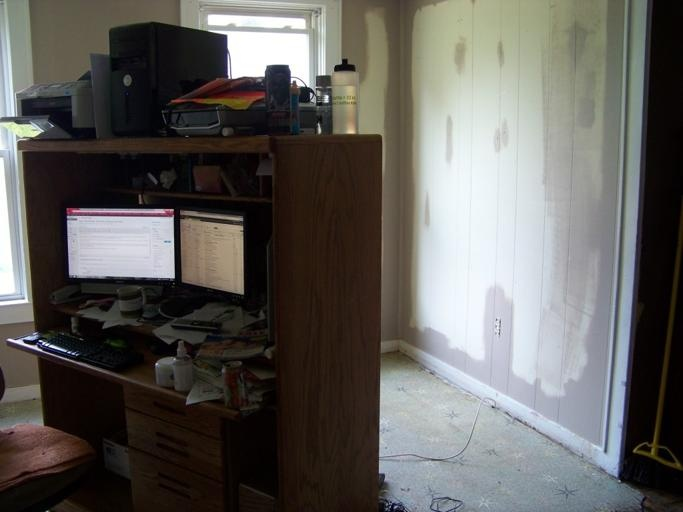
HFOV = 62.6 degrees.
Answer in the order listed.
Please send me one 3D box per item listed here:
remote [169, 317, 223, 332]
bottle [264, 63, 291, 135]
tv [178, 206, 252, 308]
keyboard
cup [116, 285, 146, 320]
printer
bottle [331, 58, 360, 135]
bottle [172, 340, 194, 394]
[{"bbox_3d":[-0.620,0.291,2.392,0.157,0.040,0.085,5,4,-3],"label":"remote"},{"bbox_3d":[-0.229,-0.564,2.001,0.092,0.235,0.052,-1,13,-6],"label":"bottle"},{"bbox_3d":[-0.571,0.000,2.545,0.390,0.366,0.055,9,11,33],"label":"tv"},{"bbox_3d":[-1.094,0.413,2.429,0.362,0.067,0.121,10,35,31],"label":"keyboard"},{"bbox_3d":[-0.976,0.206,2.598,0.130,0.123,0.104,3,-4,-29],"label":"cup"},{"bbox_3d":[-1.256,-0.660,2.432,0.370,0.304,0.271,5,11,24],"label":"printer"},{"bbox_3d":[0.009,-0.639,2.215,0.102,0.287,0.181,0,13,-1],"label":"bottle"},{"bbox_3d":[-0.618,0.421,2.178,0.082,0.203,0.103,-5,14,-21],"label":"bottle"}]
